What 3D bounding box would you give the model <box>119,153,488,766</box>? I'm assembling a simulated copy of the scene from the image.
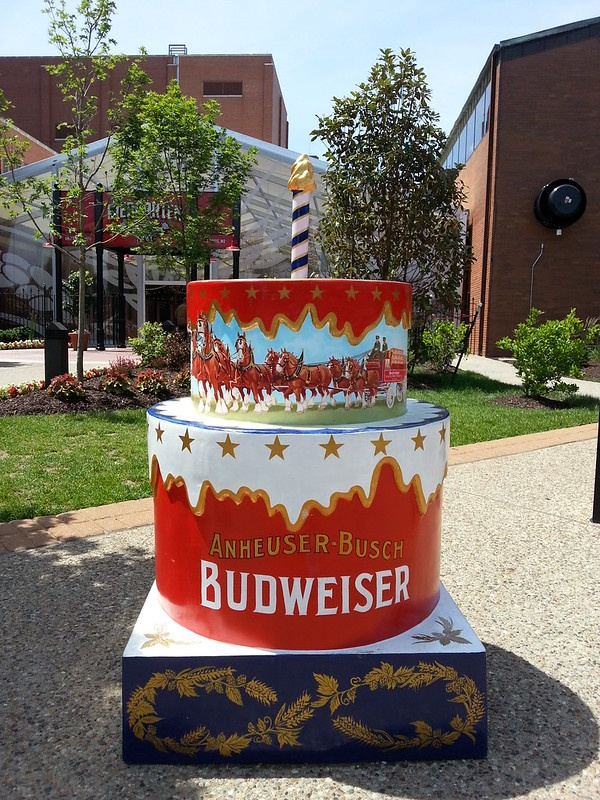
[{"bbox_3d":[-0.051,0.134,3.033,1.609,2.020,1.629,6,11,22],"label":"model"}]
